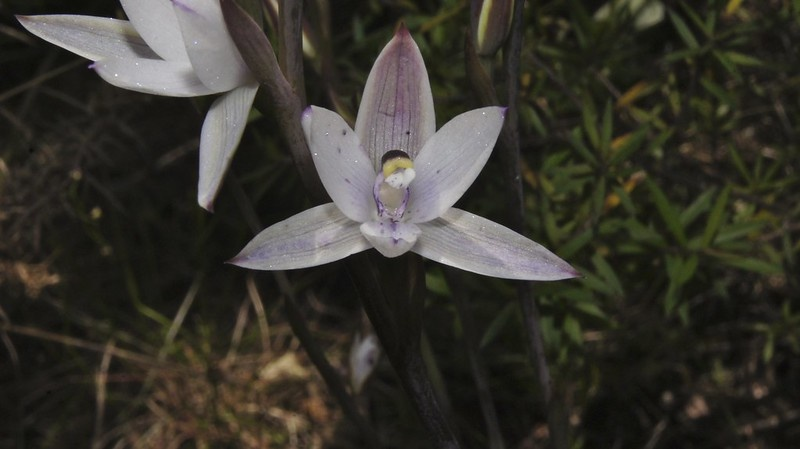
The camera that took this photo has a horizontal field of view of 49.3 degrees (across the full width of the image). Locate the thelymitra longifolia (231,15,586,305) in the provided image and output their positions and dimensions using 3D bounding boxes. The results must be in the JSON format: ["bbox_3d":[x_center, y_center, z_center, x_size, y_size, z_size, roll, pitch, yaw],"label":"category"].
[{"bbox_3d":[-0.039,-0.072,1.509,0.580,0.234,0.473,-9,52,-16],"label":"thelymitra longifolia"}]
